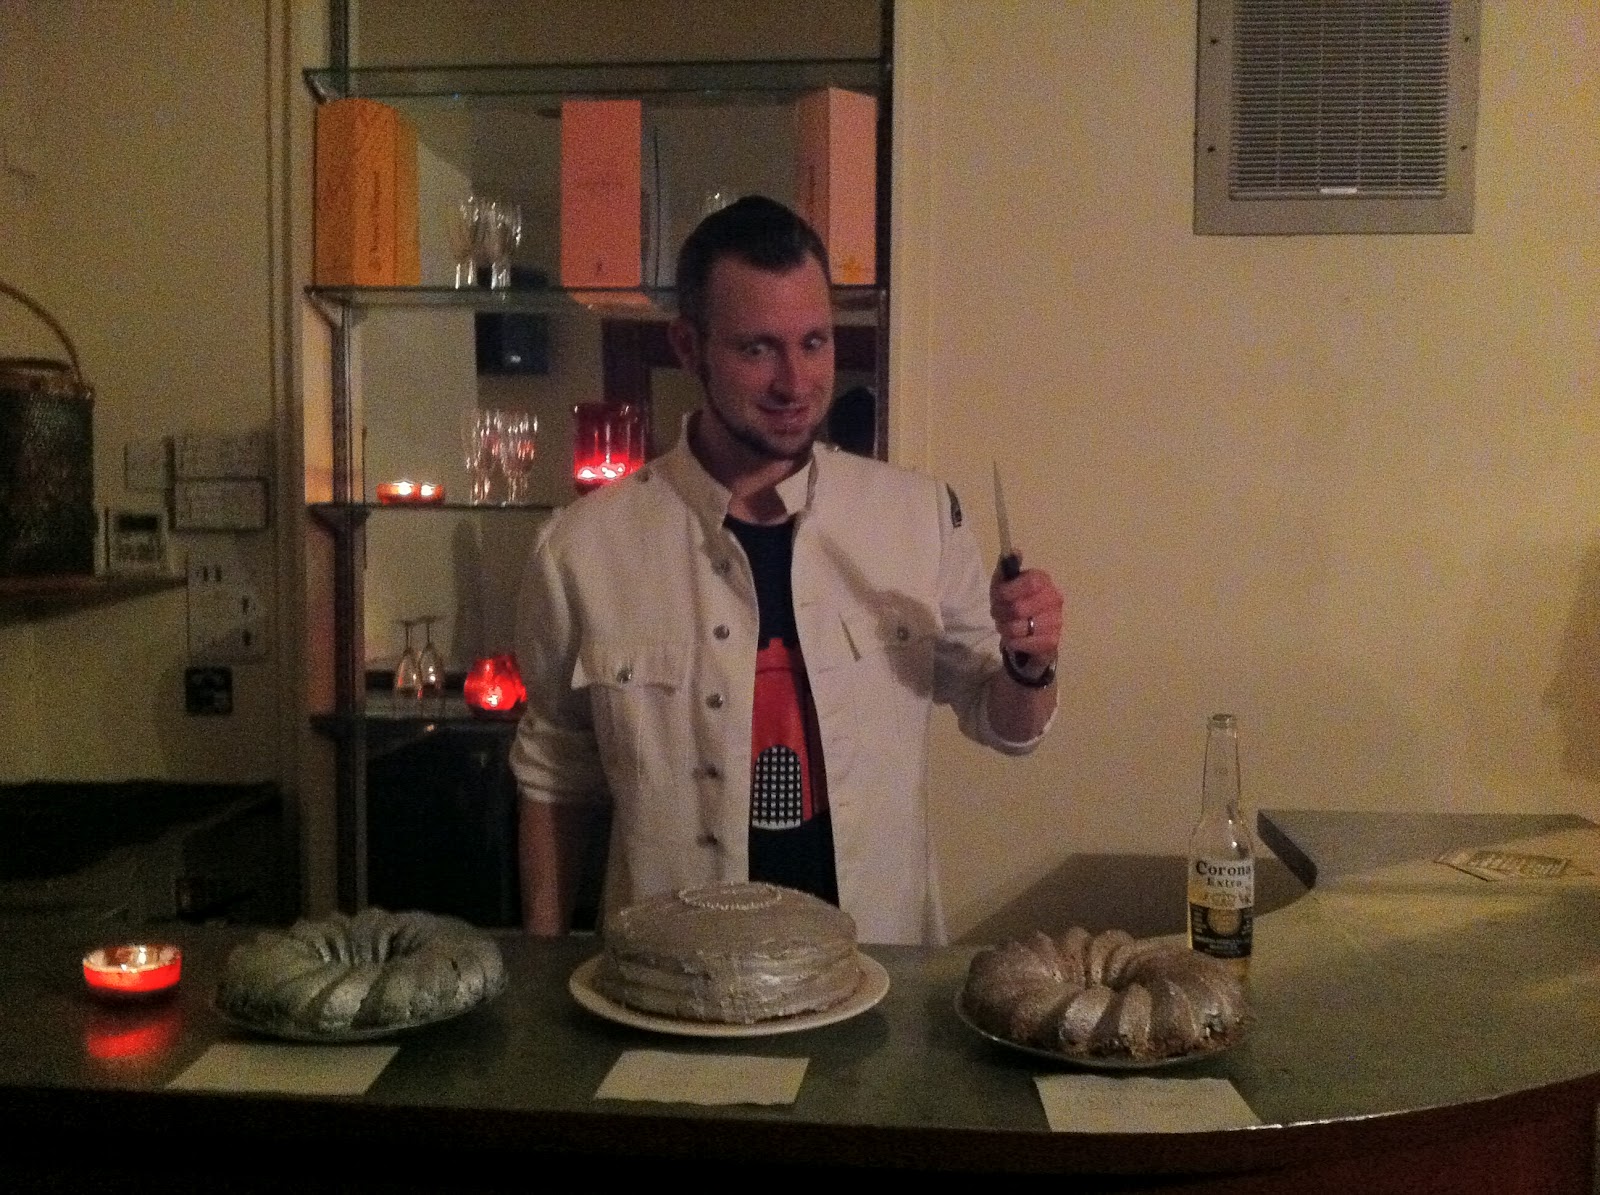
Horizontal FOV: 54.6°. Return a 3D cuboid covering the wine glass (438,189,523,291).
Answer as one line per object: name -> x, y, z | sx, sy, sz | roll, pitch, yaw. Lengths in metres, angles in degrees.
wine glass -> -0.811, -0.874, 3.967 | 0.233, 0.367, 0.239 | 0, 8, -14

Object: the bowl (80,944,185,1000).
bowl -> -1.054, 0.579, 2.455 | 0.100, 0.042, 0.097 | 3, 0, 0

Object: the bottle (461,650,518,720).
bottle -> -0.785, 0.228, 4.041 | 0.150, 0.180, 0.152 | 0, 4, -35

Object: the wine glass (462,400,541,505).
wine glass -> -0.766, -0.353, 4.008 | 0.234, 0.285, 0.246 | 2, 0, -6

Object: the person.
person -> -0.030, -0.029, 3.061 | 1.074, 1.442, 0.571 | 3, 14, 10

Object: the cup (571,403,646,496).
cup -> -0.474, -0.358, 3.823 | 0.248, 0.255, 0.178 | 0, -1, 9

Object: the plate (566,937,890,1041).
plate -> -0.109, 0.611, 2.378 | 0.518, 0.072, 0.241 | 1, 14, -1
